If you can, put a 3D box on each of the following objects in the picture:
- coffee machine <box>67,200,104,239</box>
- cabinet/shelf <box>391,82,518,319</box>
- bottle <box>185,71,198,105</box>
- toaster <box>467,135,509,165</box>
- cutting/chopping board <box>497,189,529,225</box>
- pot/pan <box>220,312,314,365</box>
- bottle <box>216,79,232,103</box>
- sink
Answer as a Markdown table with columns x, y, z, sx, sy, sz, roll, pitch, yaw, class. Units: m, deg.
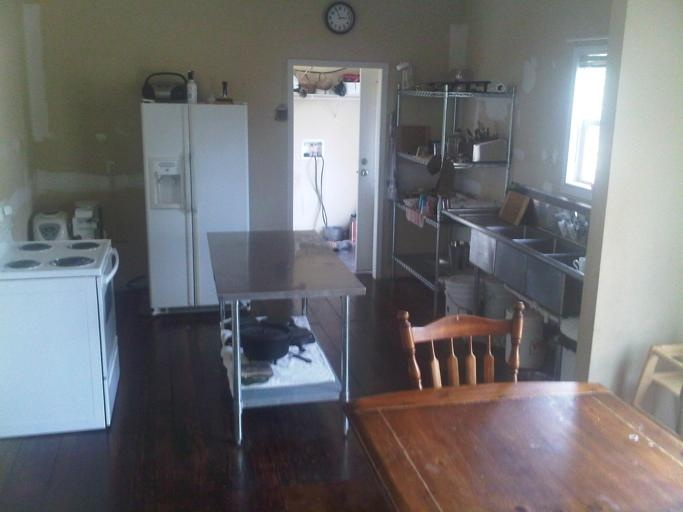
| x | y | z | sx | sy | sz | roll | pitch | yaw | class |
| --- | --- | --- | --- | --- | --- | --- | --- | --- | --- |
| -2.365 | -0.342 | 5.067 | 0.298 | 0.465 | 0.336 | -2 | 8 | -32 | coffee machine |
| 1.097 | -0.604 | 5.232 | 0.622 | 2.130 | 1.742 | -2 | 20 | -8 | cabinet/shelf |
| -1.390 | -1.576 | 5.081 | 0.086 | 0.327 | 0.616 | -4 | 14 | -12 | bottle |
| 1.336 | -0.941 | 4.931 | 0.236 | 0.176 | 0.251 | -1 | 23 | 1 | toaster |
| 1.488 | -0.412 | 4.698 | 0.193 | 0.246 | 0.350 | -1 | 14 | 4 | cutting/chopping board |
| -0.477 | 0.541 | 3.504 | 0.387 | 0.154 | 0.410 | 5 | 5 | 1 | pot/pan |
| -1.129 | -1.564 | 5.216 | 0.152 | 0.229 | 0.528 | -4 | 14 | -12 | bottle |
| 1.336 | 0.111 | 3.918 | 0.169 | 0.400 | 1.286 | -5 | 14 | -15 | sink |
